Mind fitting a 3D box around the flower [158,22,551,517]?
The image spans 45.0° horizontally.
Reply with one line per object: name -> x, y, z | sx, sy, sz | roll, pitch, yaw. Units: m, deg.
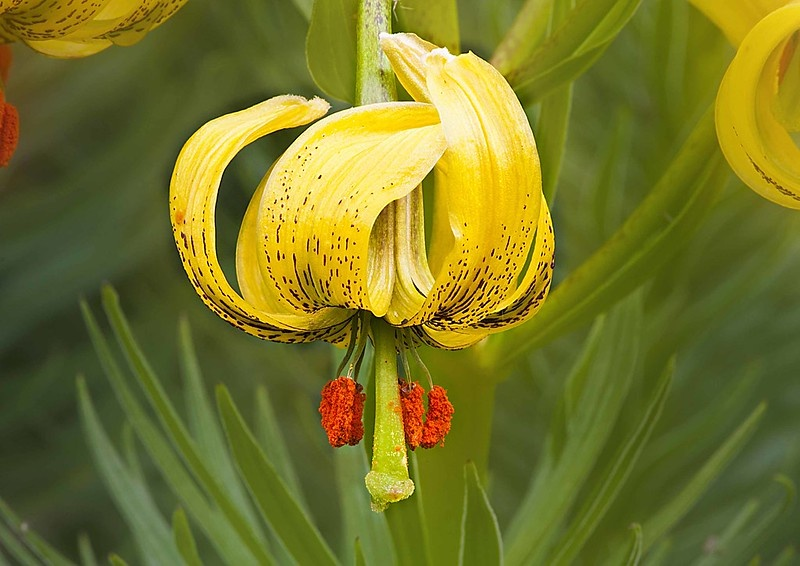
flower -> -0.032, -0.010, 1.350 | 0.436, 0.621, 0.395 | -3, 0, 34
